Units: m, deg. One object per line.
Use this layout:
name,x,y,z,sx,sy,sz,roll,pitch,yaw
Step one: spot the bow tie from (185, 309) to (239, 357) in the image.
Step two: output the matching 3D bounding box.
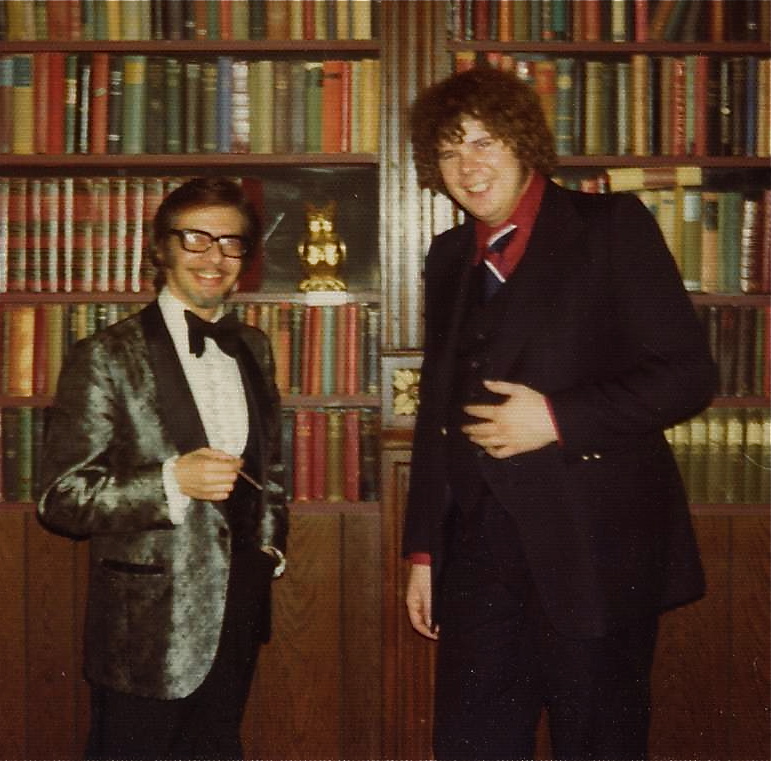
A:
bow tie,-0.464,-0.127,3.134,0.170,0.127,0.032,-2,-2,-20

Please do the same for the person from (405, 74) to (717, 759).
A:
person,0.379,0.063,2.721,0.713,1.580,0.350,1,2,14

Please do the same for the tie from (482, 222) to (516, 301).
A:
tie,0.250,-0.276,2.692,0.113,0.141,0.047,2,-14,-5
